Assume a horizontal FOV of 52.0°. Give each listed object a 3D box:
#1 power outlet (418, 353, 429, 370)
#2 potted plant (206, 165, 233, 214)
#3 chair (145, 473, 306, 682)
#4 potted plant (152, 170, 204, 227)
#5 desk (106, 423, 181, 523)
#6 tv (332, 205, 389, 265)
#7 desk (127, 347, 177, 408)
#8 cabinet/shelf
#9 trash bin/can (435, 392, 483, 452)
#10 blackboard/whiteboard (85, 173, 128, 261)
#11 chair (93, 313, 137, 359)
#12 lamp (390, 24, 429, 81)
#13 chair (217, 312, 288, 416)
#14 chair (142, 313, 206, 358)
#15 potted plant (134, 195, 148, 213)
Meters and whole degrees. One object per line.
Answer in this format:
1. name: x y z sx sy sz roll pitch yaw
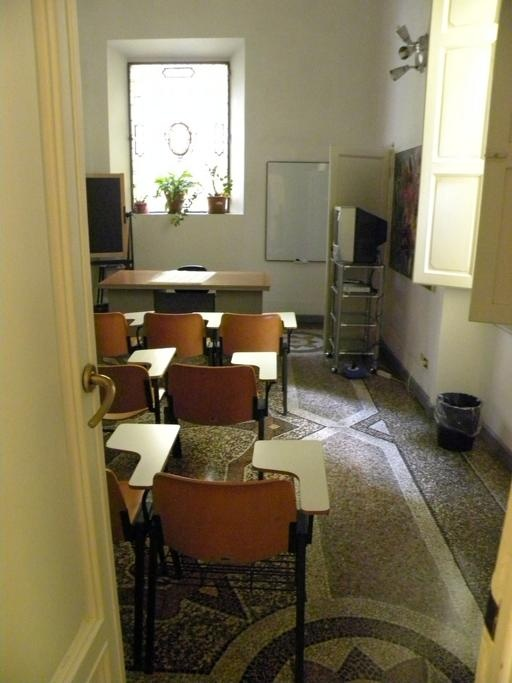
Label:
1. power outlet: 1.345 0.152 4.197 0.048 0.113 0.115 -3 15 4
2. potted plant: -0.497 -2.005 7.118 0.310 0.560 0.340 4 4 -3
3. chair: -0.104 0.805 1.744 0.463 0.697 0.496 1 37 0
4. potted plant: -1.085 -1.948 7.121 0.604 0.718 0.477 1 13 -1
5. desk: -0.404 0.521 1.935 0.222 0.209 0.421 3 26 -2
6. tv: 0.924 -0.975 4.978 0.511 0.531 0.550 0 27 1
7. desk: -0.564 0.221 2.982 0.280 0.314 0.338 -1 31 0
8. cabinet/shelf: 1.006 -0.266 5.382 0.317 0.827 0.916 0 27 2
9. trash bin/can: 1.312 0.518 3.549 0.353 0.365 0.311 10 20 32
10. blackboard/whiteboard: -1.864 -1.570 6.561 0.457 1.007 0.214 -3 13 -16
11. chair: -1.010 -0.046 3.678 0.225 0.356 0.234 -2 13 -15
12. lamp: 1.331 -2.534 4.596 0.248 0.500 1.006 4 13 11
13. chair: -0.024 0.079 3.895 0.558 0.964 0.702 1 35 3
14. chair: -0.576 -0.080 3.887 0.346 0.465 0.365 2 36 -1
15. potted plant: -1.596 -1.874 7.197 0.189 0.227 0.255 -2 13 -14
